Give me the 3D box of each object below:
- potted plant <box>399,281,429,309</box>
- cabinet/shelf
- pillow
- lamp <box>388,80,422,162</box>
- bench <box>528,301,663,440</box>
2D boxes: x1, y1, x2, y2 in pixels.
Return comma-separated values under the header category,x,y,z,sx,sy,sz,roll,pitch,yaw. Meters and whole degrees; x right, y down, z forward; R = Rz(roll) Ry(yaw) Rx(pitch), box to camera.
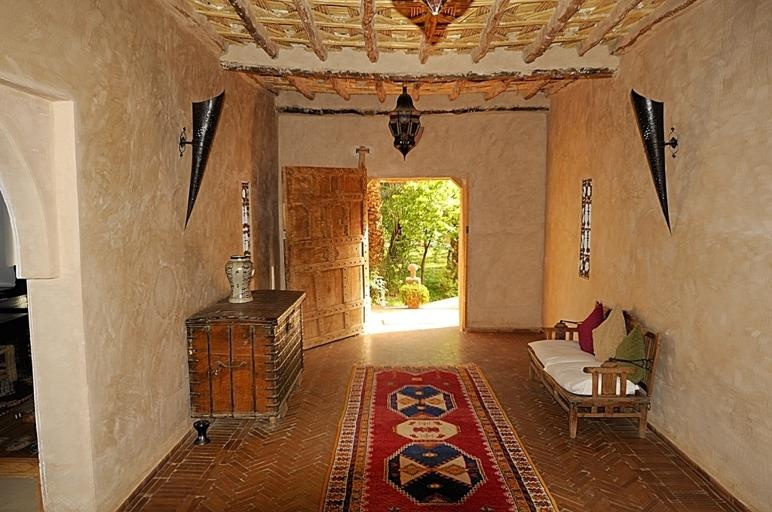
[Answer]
category,x,y,z,sx,sy,sz,roll,pitch,yaw
potted plant,0.719,0.994,13.801,0.662,0.642,0.602,-2,4,-1
cabinet/shelf,-1.837,1.338,7.133,1.092,1.452,1.417,1,12,6
pillow,2.956,1.109,6.701,0.378,0.738,1.201,14,15,-8
lamp,0.281,-2.061,8.011,0.430,1.048,0.737,0,12,3
bench,2.694,1.425,6.894,1.180,1.351,1.299,0,12,2
